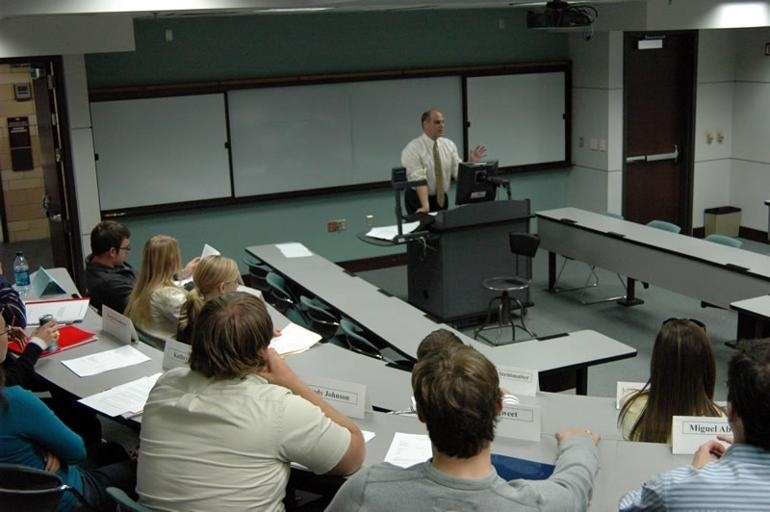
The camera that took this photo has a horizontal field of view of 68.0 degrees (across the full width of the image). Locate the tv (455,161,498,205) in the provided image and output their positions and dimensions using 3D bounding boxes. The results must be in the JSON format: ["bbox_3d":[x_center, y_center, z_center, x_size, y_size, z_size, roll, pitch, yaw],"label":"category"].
[{"bbox_3d":[0.987,-0.782,6.165,0.444,0.414,0.159,-7,26,-16],"label":"tv"}]

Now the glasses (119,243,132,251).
[{"bbox_3d":[-2.090,-0.069,4.572,0.106,0.032,0.103,9,11,34],"label":"glasses"}]

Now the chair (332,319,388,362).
[{"bbox_3d":[-0.242,0.634,4.402,0.483,0.201,0.266,27,72,44],"label":"chair"}]

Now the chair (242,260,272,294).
[{"bbox_3d":[-1.329,0.210,5.915,0.255,0.304,0.248,-15,24,-35],"label":"chair"}]

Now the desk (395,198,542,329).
[{"bbox_3d":[0.794,-0.120,6.725,1.748,1.752,1.297,-7,16,-27],"label":"desk"}]

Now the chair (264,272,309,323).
[{"bbox_3d":[-0.872,0.373,5.121,0.238,0.288,0.303,-21,44,-25],"label":"chair"}]
